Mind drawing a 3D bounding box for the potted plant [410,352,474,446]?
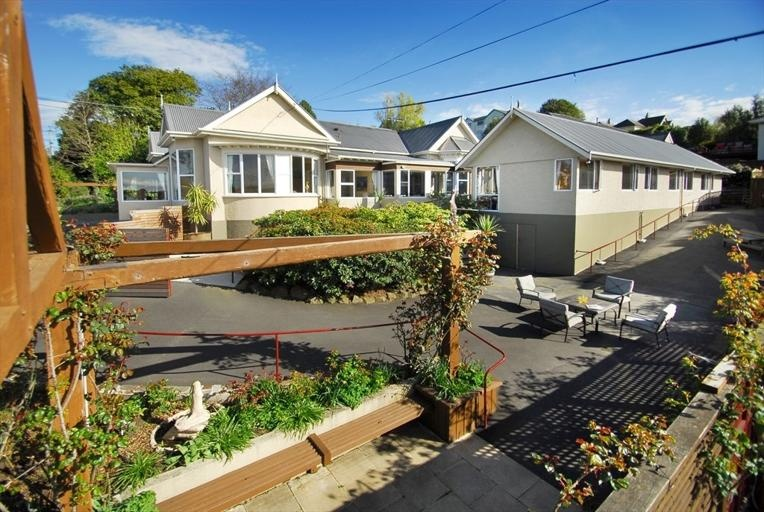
[{"bbox_3d":[1.318,3.019,9.894,1.255,1.451,0.742,4,9,28],"label":"potted plant"}]

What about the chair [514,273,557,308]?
[{"bbox_3d":[5.060,1.149,15.809,1.141,1.027,1.290,-7,7,-40],"label":"chair"}]

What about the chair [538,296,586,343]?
[{"bbox_3d":[5.299,1.607,13.741,1.252,1.423,1.230,-14,19,-26],"label":"chair"}]

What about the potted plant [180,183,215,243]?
[{"bbox_3d":[-7.770,-1.956,19.985,1.319,2.154,0.865,-3,8,-19],"label":"potted plant"}]
